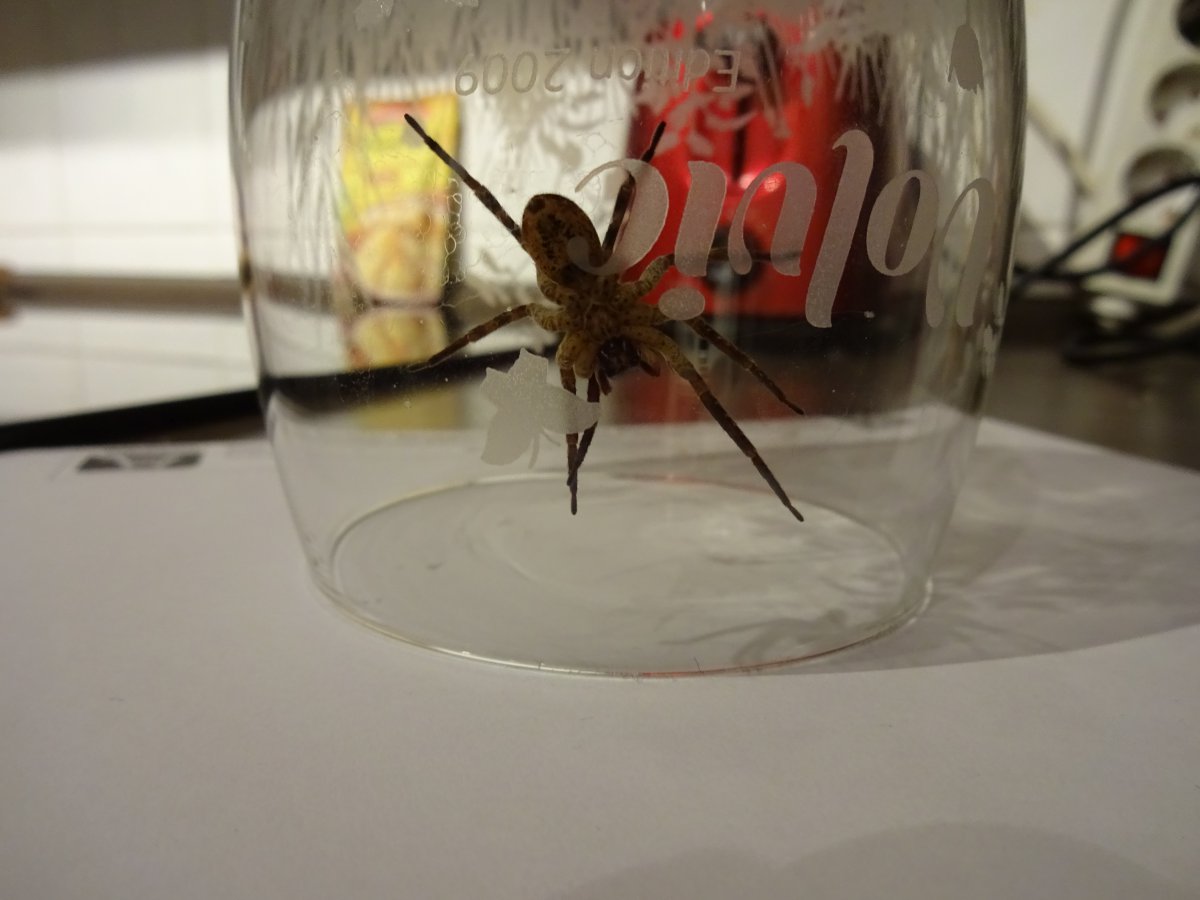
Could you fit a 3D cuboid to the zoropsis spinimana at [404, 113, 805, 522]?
[{"bbox_3d":[-0.009,-0.058,0.632,0.155,0.228,0.055,-7,26,31],"label":"zoropsis spinimana"}]
